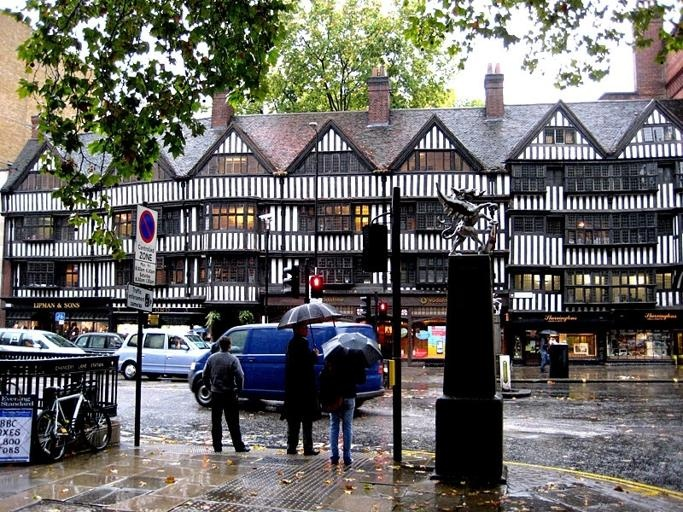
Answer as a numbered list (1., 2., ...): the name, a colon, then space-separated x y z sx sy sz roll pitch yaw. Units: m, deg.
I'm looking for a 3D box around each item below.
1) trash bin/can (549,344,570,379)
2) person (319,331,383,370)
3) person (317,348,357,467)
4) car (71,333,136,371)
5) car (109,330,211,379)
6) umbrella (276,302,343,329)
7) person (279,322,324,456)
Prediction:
1. trash bin/can: 9.159 4.462 43.555 0.744 1.485 0.857 0 -8 7
2. person: 0.333 2.415 25.861 1.048 0.940 0.959 0 -6 1
3. person: -0.100 3.726 25.392 0.928 2.911 0.579 2 -8 -8
4. car: -10.132 3.651 42.792 2.663 2.251 2.690 -1 -5 38
5. car: -7.129 4.028 40.331 5.232 2.051 2.124 -1 -3 14
6. umbrella: -0.821 1.562 26.914 0.937 0.709 1.420 1 0 25
7. person: -1.055 3.479 26.760 1.158 2.991 0.969 1 -3 1
